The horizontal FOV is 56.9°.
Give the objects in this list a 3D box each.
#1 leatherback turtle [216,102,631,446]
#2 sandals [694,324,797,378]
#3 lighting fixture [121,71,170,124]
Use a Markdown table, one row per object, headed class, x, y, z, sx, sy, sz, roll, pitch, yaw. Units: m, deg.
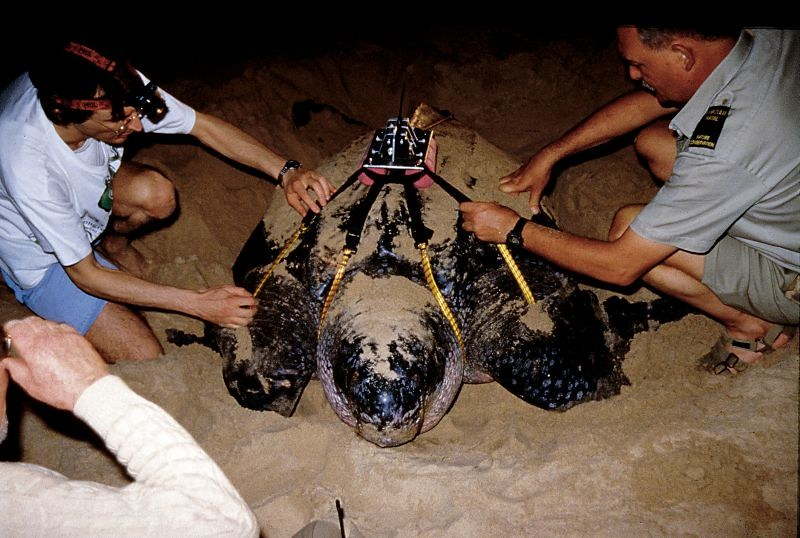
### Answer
| class | x | y | z | sx | sy | sz | roll | pitch | yaw |
| --- | --- | --- | --- | --- | --- | --- | --- | --- | --- |
| leatherback turtle | 0.080 | 0.220 | 4.347 | 1.809 | 0.621 | 1.869 | 0 | 56 | 4 |
| sandals | 1.894 | 0.460 | 4.091 | 0.506 | 0.164 | 0.223 | -27 | 41 | 22 |
| lighting fixture | -1.376 | -0.894 | 4.016 | 0.096 | 0.248 | 0.152 | -12 | 68 | 8 |
